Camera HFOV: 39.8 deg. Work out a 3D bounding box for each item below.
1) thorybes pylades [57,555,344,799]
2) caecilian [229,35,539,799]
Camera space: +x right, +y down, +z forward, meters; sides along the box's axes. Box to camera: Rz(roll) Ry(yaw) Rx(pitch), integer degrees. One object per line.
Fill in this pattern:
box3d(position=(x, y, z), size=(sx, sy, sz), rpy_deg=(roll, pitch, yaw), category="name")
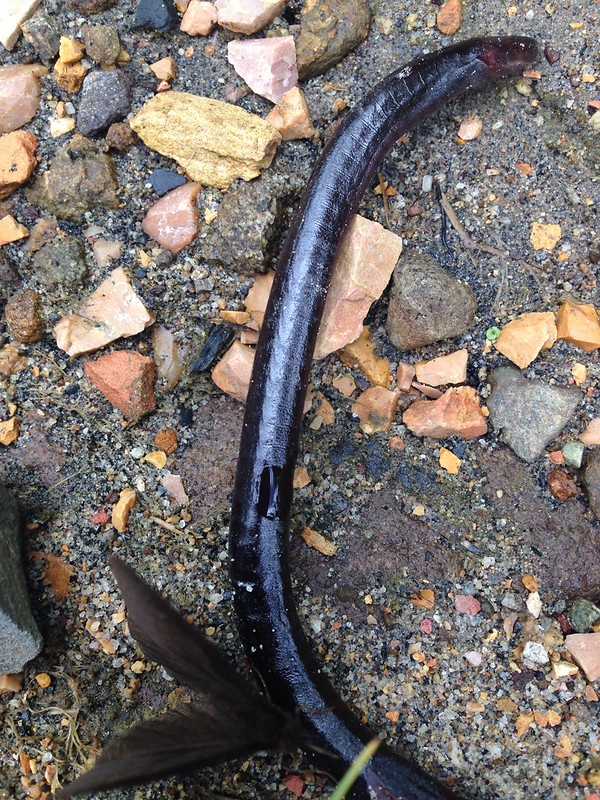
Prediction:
box3d(position=(-0.276, 0.825, 2.588), size=(0.785, 0.497, 0.744), rpy_deg=(15, 80, -20), category="thorybes pylades")
box3d(position=(0.166, -0.074, 2.990), size=(0.641, 0.682, 2.621), rpy_deg=(12, 71, 13), category="caecilian")
